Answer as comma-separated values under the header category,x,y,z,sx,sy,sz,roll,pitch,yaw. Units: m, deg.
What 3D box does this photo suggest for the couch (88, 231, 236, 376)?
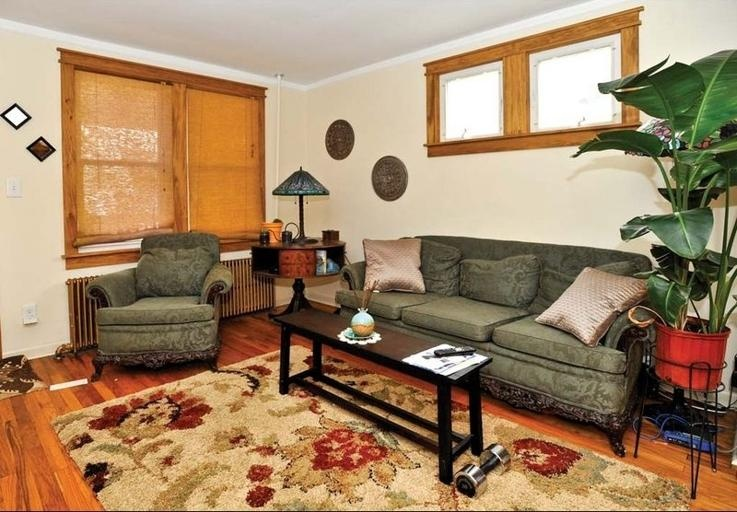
category,x,y,z,sx,sy,sz,roll,pitch,yaw
couch,-1.983,0.384,4.818,1.334,1.306,1.187,0,-5,-9

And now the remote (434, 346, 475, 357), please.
category,x,y,z,sx,sy,sz,roll,pitch,yaw
remote,0.575,0.648,3.401,0.205,0.026,0.096,-2,-2,-9

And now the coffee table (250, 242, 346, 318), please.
category,x,y,z,sx,sy,sz,roll,pitch,yaw
coffee table,-0.700,0.223,5.645,1.081,0.804,0.756,6,5,30

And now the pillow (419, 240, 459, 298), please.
category,x,y,z,sx,sy,sz,roll,pitch,yaw
pillow,0.672,0.122,4.733,0.457,0.428,0.183,1,0,34

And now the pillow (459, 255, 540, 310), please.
category,x,y,z,sx,sy,sz,roll,pitch,yaw
pillow,1.112,0.214,4.362,0.754,0.470,0.541,4,6,42

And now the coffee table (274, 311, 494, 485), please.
category,x,y,z,sx,sy,sz,roll,pitch,yaw
coffee table,0.034,0.902,3.691,1.504,0.927,1.883,2,5,-34

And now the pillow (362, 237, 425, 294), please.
category,x,y,z,sx,sy,sz,roll,pitch,yaw
pillow,0.228,0.080,4.942,0.664,0.474,0.462,3,6,-5

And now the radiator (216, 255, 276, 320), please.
category,x,y,z,sx,sy,sz,roll,pitch,yaw
radiator,-1.507,0.346,5.979,0.690,0.597,0.458,0,7,-38

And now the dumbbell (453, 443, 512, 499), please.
category,x,y,z,sx,sy,sz,roll,pitch,yaw
dumbbell,0.719,1.355,3.182,0.227,0.233,0.333,5,12,40

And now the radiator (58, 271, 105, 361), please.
category,x,y,z,sx,sy,sz,roll,pitch,yaw
radiator,-2.802,0.548,4.886,0.122,0.673,0.625,-3,-3,-9
